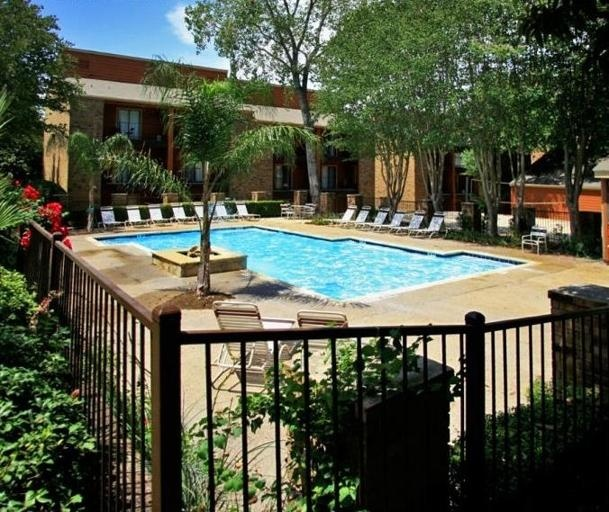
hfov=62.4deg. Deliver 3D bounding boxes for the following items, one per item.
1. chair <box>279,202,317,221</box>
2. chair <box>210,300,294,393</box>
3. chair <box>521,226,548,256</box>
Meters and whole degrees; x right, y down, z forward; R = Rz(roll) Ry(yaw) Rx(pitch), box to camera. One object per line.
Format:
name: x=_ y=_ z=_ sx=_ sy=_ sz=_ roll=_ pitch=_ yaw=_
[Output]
chair: x=-0.444 y=-2.604 z=28.568 sx=1.044 sy=0.942 sz=2.612 roll=-4 pitch=1 yaw=-40
chair: x=-0.678 y=1.024 z=6.401 sx=0.738 sy=1.056 sz=1.530 roll=2 pitch=8 yaw=12
chair: x=7.885 y=-0.548 z=17.337 sx=0.800 sy=1.196 sz=0.986 roll=-8 pitch=10 yaw=-33
